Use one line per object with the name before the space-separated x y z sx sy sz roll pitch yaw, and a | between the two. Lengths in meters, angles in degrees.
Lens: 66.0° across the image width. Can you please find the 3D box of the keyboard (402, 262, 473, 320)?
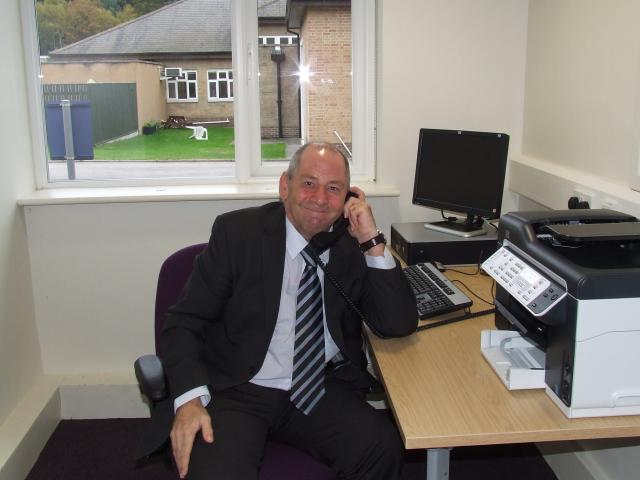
keyboard | 0.510 0.238 2.218 0.169 0.039 0.345 -6 21 -8

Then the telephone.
telephone | 0.038 -0.032 2.056 0.130 0.186 0.065 39 7 5

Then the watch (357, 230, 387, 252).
watch | 0.211 0.011 2.069 0.084 0.032 0.086 -33 1 17

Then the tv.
tv | 0.774 -0.318 2.724 0.209 0.598 0.580 -7 13 -41
